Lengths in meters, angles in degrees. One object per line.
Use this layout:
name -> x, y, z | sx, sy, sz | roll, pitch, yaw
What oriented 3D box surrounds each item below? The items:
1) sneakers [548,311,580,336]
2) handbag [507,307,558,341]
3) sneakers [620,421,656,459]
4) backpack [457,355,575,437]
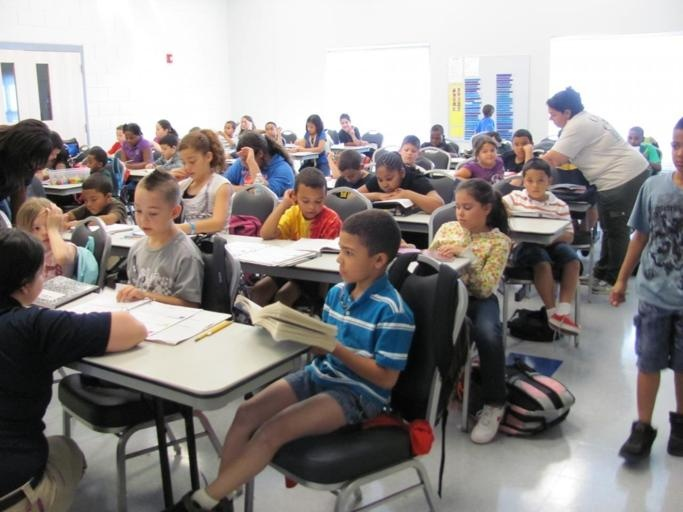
sneakers -> 1.406, 0.437, 3.381 | 0.210, 0.136, 0.106 | 23, -6, 18
handbag -> 1.302, 0.494, 3.596 | 0.250, 0.118, 0.264 | -2, 1, 2
sneakers -> 1.355, 0.837, 2.406 | 0.087, 0.114, 0.260 | 2, 10, 42
backpack -> 0.919, 0.714, 2.738 | 0.359, 0.209, 0.505 | -5, 13, -30
